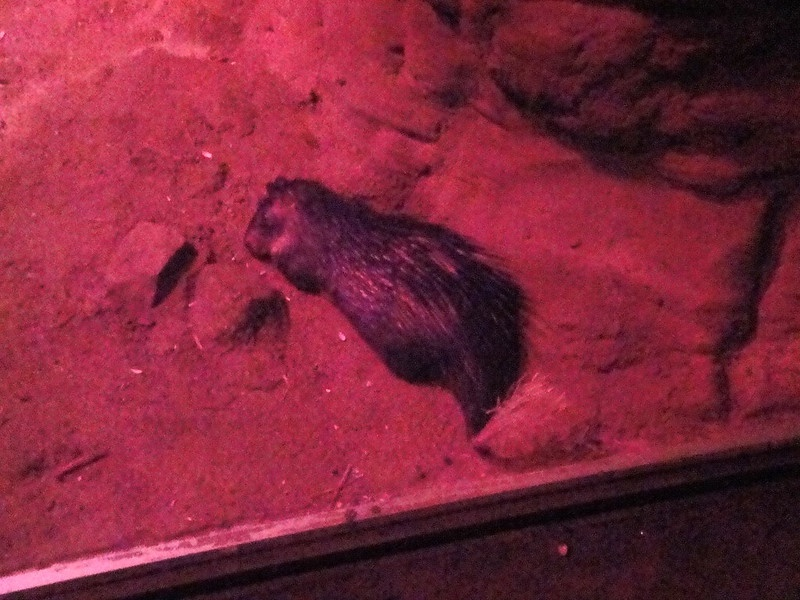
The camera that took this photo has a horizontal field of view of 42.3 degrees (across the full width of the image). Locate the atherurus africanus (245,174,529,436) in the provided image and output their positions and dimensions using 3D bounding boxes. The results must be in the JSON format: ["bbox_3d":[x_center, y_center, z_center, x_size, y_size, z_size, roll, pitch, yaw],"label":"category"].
[{"bbox_3d":[-0.002,-0.087,5.049,1.414,0.498,0.698,33,73,20],"label":"atherurus africanus"}]
